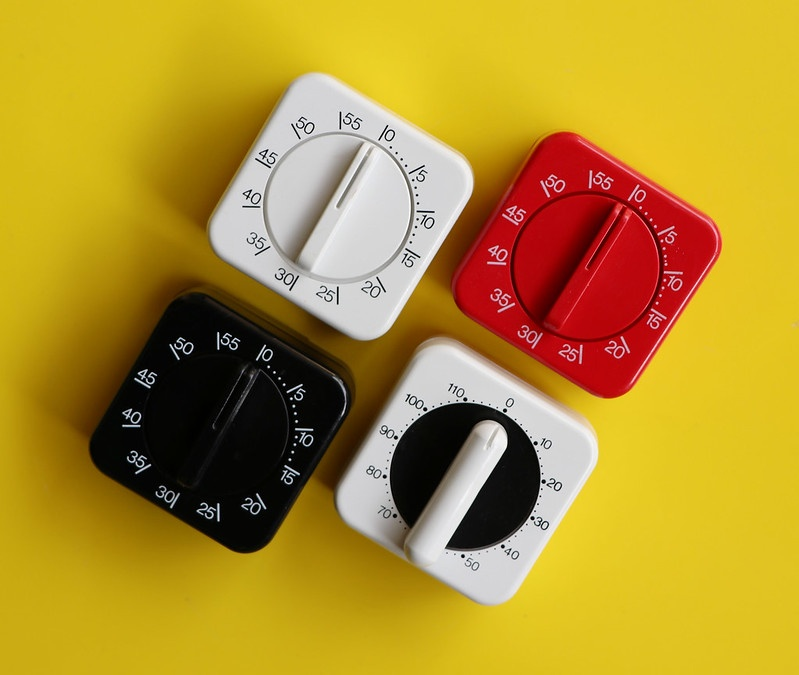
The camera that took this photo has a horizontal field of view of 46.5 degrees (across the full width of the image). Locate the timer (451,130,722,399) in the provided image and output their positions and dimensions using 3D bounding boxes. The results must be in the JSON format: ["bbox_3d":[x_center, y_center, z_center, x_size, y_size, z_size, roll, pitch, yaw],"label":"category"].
[{"bbox_3d":[0.142,-0.055,0.709,0.172,0.077,0.139,31,65,-4],"label":"timer"}]

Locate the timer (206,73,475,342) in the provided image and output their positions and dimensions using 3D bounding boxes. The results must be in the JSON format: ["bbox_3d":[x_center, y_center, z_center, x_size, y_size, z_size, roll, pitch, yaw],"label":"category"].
[{"bbox_3d":[-0.045,-0.100,0.703,0.173,0.079,0.145,31,65,-4],"label":"timer"}]

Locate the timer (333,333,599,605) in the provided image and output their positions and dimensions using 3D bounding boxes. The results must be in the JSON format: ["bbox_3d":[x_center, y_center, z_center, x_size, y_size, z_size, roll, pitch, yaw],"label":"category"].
[{"bbox_3d":[0.051,0.098,0.740,0.210,0.204,0.086,41,23,-15],"label":"timer"}]

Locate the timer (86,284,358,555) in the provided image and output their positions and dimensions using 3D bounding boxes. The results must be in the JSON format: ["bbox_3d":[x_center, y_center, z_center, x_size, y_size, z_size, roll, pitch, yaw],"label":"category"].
[{"bbox_3d":[-0.136,0.060,0.716,0.174,0.087,0.156,31,65,-4],"label":"timer"}]
